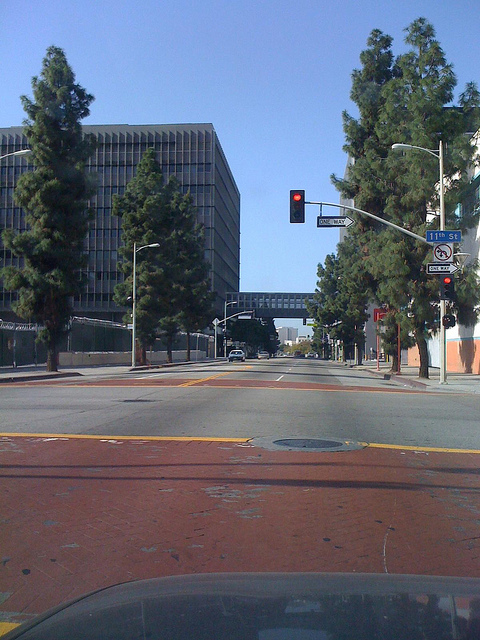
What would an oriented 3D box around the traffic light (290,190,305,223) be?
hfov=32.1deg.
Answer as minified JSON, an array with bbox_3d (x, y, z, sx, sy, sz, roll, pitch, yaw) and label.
[{"bbox_3d":[1.684,-3.341,24.301,0.375,0.955,0.300,1,-2,-1],"label":"traffic light"}]

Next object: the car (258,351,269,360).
[{"bbox_3d":[3.315,4.768,117.738,1.089,1.028,2.848,-3,-6,4],"label":"car"}]
